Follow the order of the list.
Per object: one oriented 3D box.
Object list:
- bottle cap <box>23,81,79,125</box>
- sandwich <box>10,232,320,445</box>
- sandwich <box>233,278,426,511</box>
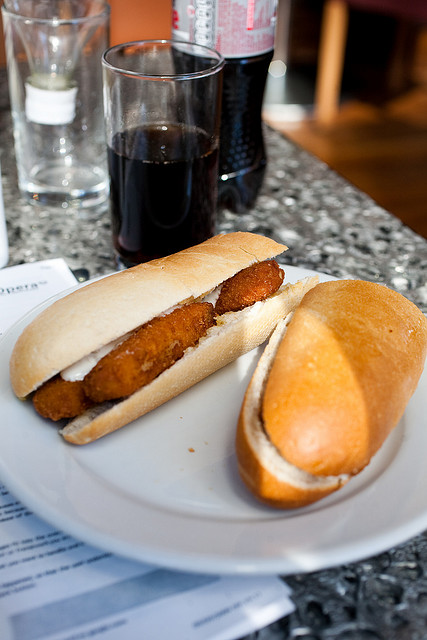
[{"bbox_3d":[-0.286,-0.371,0.961,0.098,0.059,0.096,-9,25,-32],"label":"bottle cap"},{"bbox_3d":[-0.031,0.016,0.719,0.394,0.139,0.179,-29,46,-29],"label":"sandwich"},{"bbox_3d":[0.123,0.072,0.589,0.126,0.084,0.257,28,52,21],"label":"sandwich"}]
